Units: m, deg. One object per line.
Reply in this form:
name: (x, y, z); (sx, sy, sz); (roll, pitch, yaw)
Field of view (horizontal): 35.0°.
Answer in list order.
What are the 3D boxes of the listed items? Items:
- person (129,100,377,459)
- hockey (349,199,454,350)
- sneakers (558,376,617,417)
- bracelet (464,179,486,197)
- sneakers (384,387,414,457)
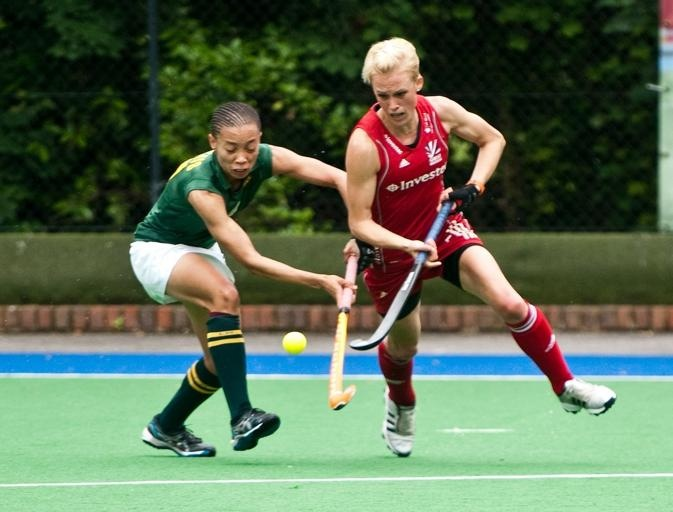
person: (-0.506, 0.167, 5.839); (1.185, 1.990, 0.849); (-3, 14, -12)
hockey: (0.368, 0.103, 6.380); (0.165, 1.154, 0.129); (37, 9, 32)
sneakers: (1.346, 0.745, 5.788); (0.159, 0.182, 0.321); (-41, 21, -29)
bracelet: (0.788, -0.394, 6.103); (0.078, 0.089, 0.116); (-24, 5, 3)
sneakers: (0.345, 0.957, 6.164); (0.119, 0.360, 0.158); (-1, -25, -25)
